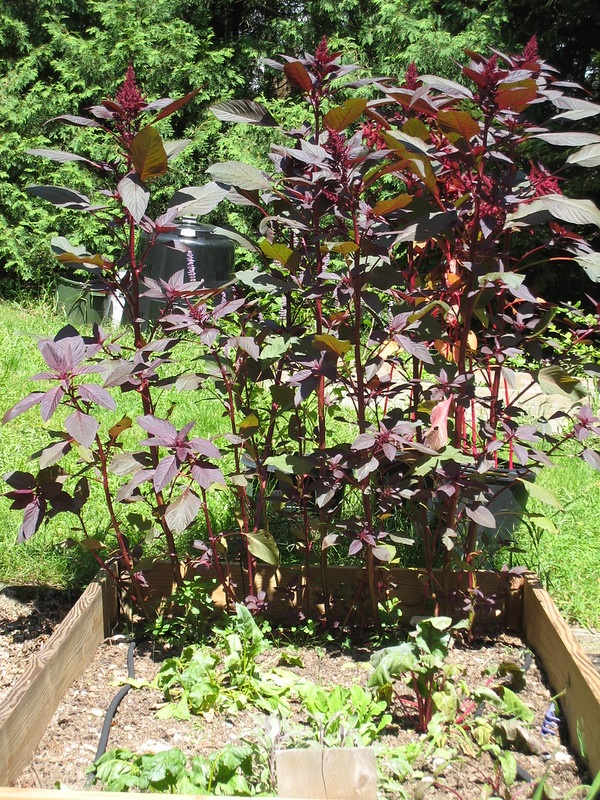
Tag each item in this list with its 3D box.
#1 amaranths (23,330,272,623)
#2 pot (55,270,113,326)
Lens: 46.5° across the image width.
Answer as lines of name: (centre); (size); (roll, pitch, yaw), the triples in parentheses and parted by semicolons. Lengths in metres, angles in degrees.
amaranths: (-0.411, 0.239, 1.891); (0.631, 0.843, 0.499); (5, 53, 8)
pot: (-1.894, -0.853, 6.038); (0.308, 0.378, 0.918); (-3, 16, -28)
